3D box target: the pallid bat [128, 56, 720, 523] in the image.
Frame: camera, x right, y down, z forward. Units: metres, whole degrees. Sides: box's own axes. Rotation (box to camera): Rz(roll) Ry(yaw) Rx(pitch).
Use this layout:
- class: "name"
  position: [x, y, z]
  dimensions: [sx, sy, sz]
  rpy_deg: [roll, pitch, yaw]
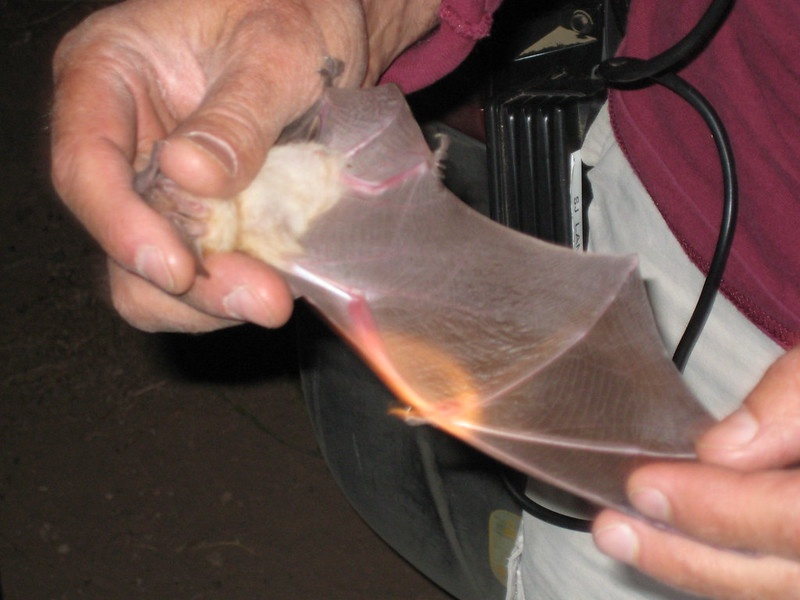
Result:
- class: "pallid bat"
  position: [-0.030, -0.080, 0.925]
  dimensions: [0.793, 0.214, 0.271]
  rpy_deg: [43, 97, 15]
